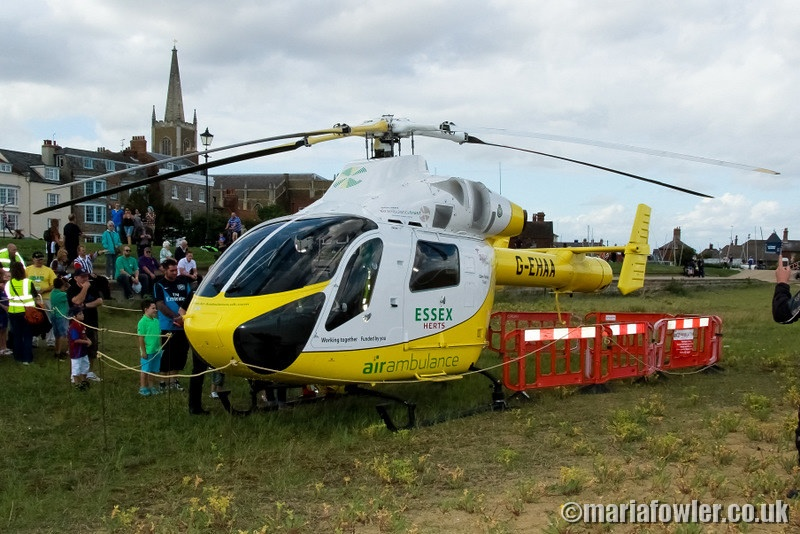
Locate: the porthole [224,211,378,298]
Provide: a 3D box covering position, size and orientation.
[{"bbox_3d":[-1.724,-0.223,14.107,2.365,0.723,1.186,-12,8,-41],"label":"porthole"}]
